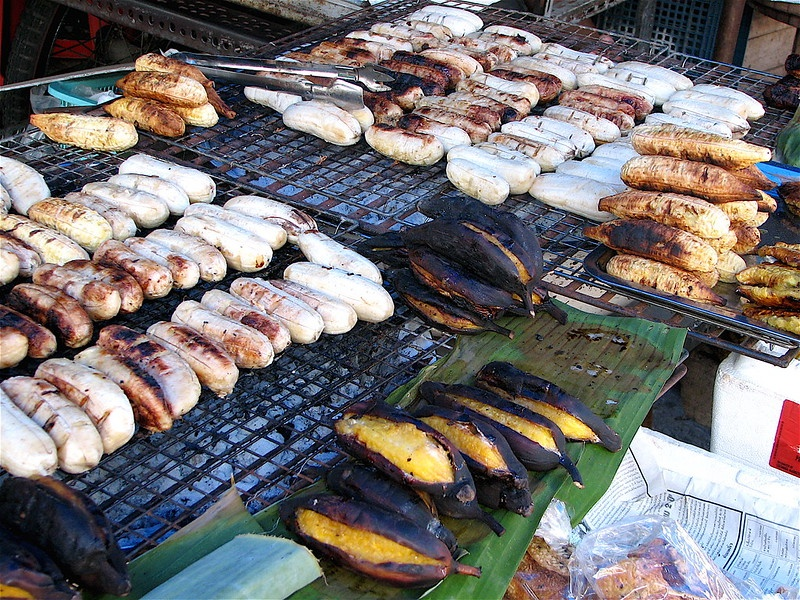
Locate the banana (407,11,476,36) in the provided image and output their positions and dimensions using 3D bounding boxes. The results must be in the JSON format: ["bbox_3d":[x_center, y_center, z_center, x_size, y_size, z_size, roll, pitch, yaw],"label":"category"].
[{"bbox_3d":[0.305,-1.822,3.836,0.451,0.110,0.169,13,35,8],"label":"banana"}]

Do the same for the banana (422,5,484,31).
[{"bbox_3d":[0.343,-1.927,3.914,0.361,0.067,0.217,23,40,28],"label":"banana"}]

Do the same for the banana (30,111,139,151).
[{"bbox_3d":[-1.369,-0.762,2.680,0.588,0.125,0.157,8,26,3],"label":"banana"}]
